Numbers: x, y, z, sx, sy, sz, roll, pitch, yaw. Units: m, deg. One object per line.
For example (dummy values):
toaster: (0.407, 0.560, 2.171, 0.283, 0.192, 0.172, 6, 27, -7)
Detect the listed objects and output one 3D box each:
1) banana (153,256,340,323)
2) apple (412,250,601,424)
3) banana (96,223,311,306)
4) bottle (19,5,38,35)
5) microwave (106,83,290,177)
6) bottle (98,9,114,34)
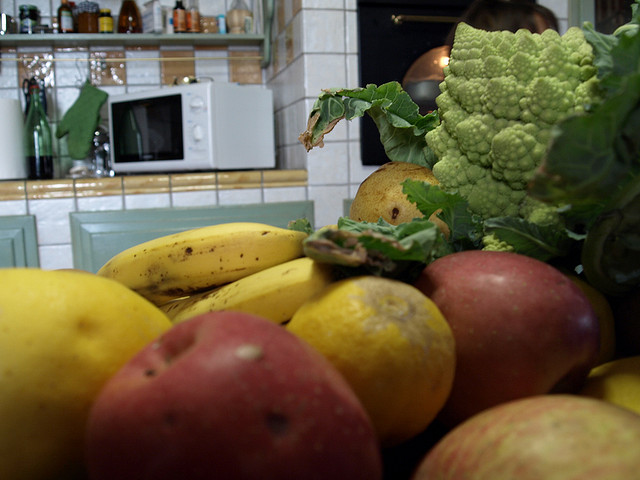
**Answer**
banana: (-0.050, 0.034, 0.397, 0.145, 0.052, 0.040, 5, 12, 39)
apple: (0.139, 0.063, 0.368, 0.092, 0.118, 0.094, 20, -2, -25)
banana: (-0.088, 0.008, 0.418, 0.175, 0.069, 0.052, -1, 11, -11)
bottle: (-1.224, -0.923, 2.236, 0.078, 0.131, 0.105, -8, 13, -24)
microwave: (-0.491, -0.410, 2.010, 0.637, 0.318, 0.374, -5, 13, -10)
bottle: (-0.938, -0.948, 2.338, 0.068, 0.105, 0.191, -7, 13, -18)
